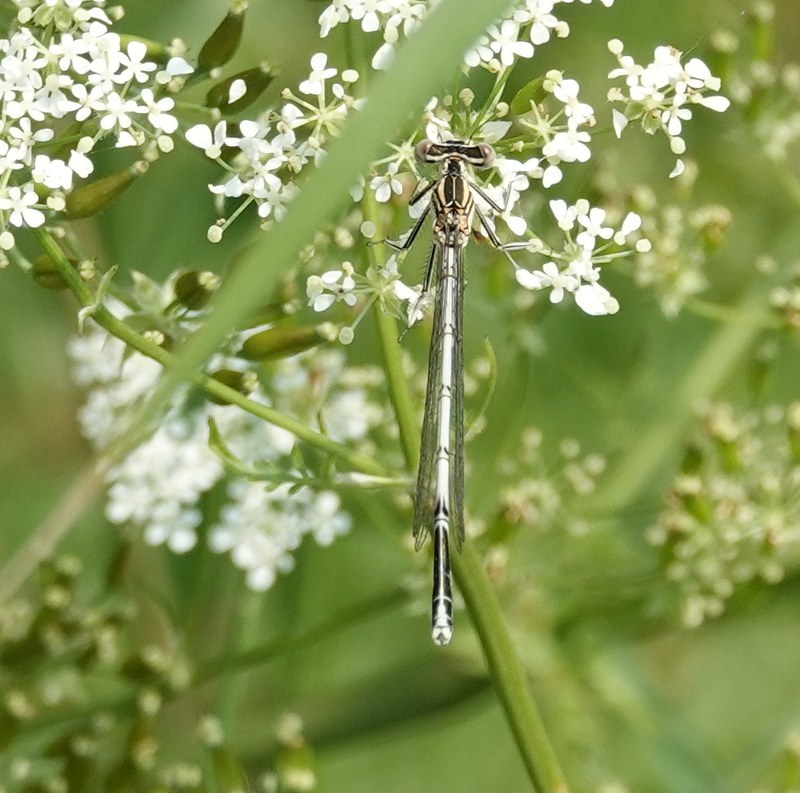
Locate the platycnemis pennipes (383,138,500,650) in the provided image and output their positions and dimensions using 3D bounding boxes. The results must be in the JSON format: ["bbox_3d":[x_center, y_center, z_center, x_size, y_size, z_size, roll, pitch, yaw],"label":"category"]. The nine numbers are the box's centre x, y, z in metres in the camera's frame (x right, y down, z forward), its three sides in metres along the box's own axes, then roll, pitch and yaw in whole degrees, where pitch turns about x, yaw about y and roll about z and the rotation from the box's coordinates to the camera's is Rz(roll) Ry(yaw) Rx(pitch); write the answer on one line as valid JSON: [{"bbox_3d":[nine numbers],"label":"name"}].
[{"bbox_3d":[0.055,0.009,1.377,0.177,0.599,0.157,0,-5,1],"label":"platycnemis pennipes"}]
